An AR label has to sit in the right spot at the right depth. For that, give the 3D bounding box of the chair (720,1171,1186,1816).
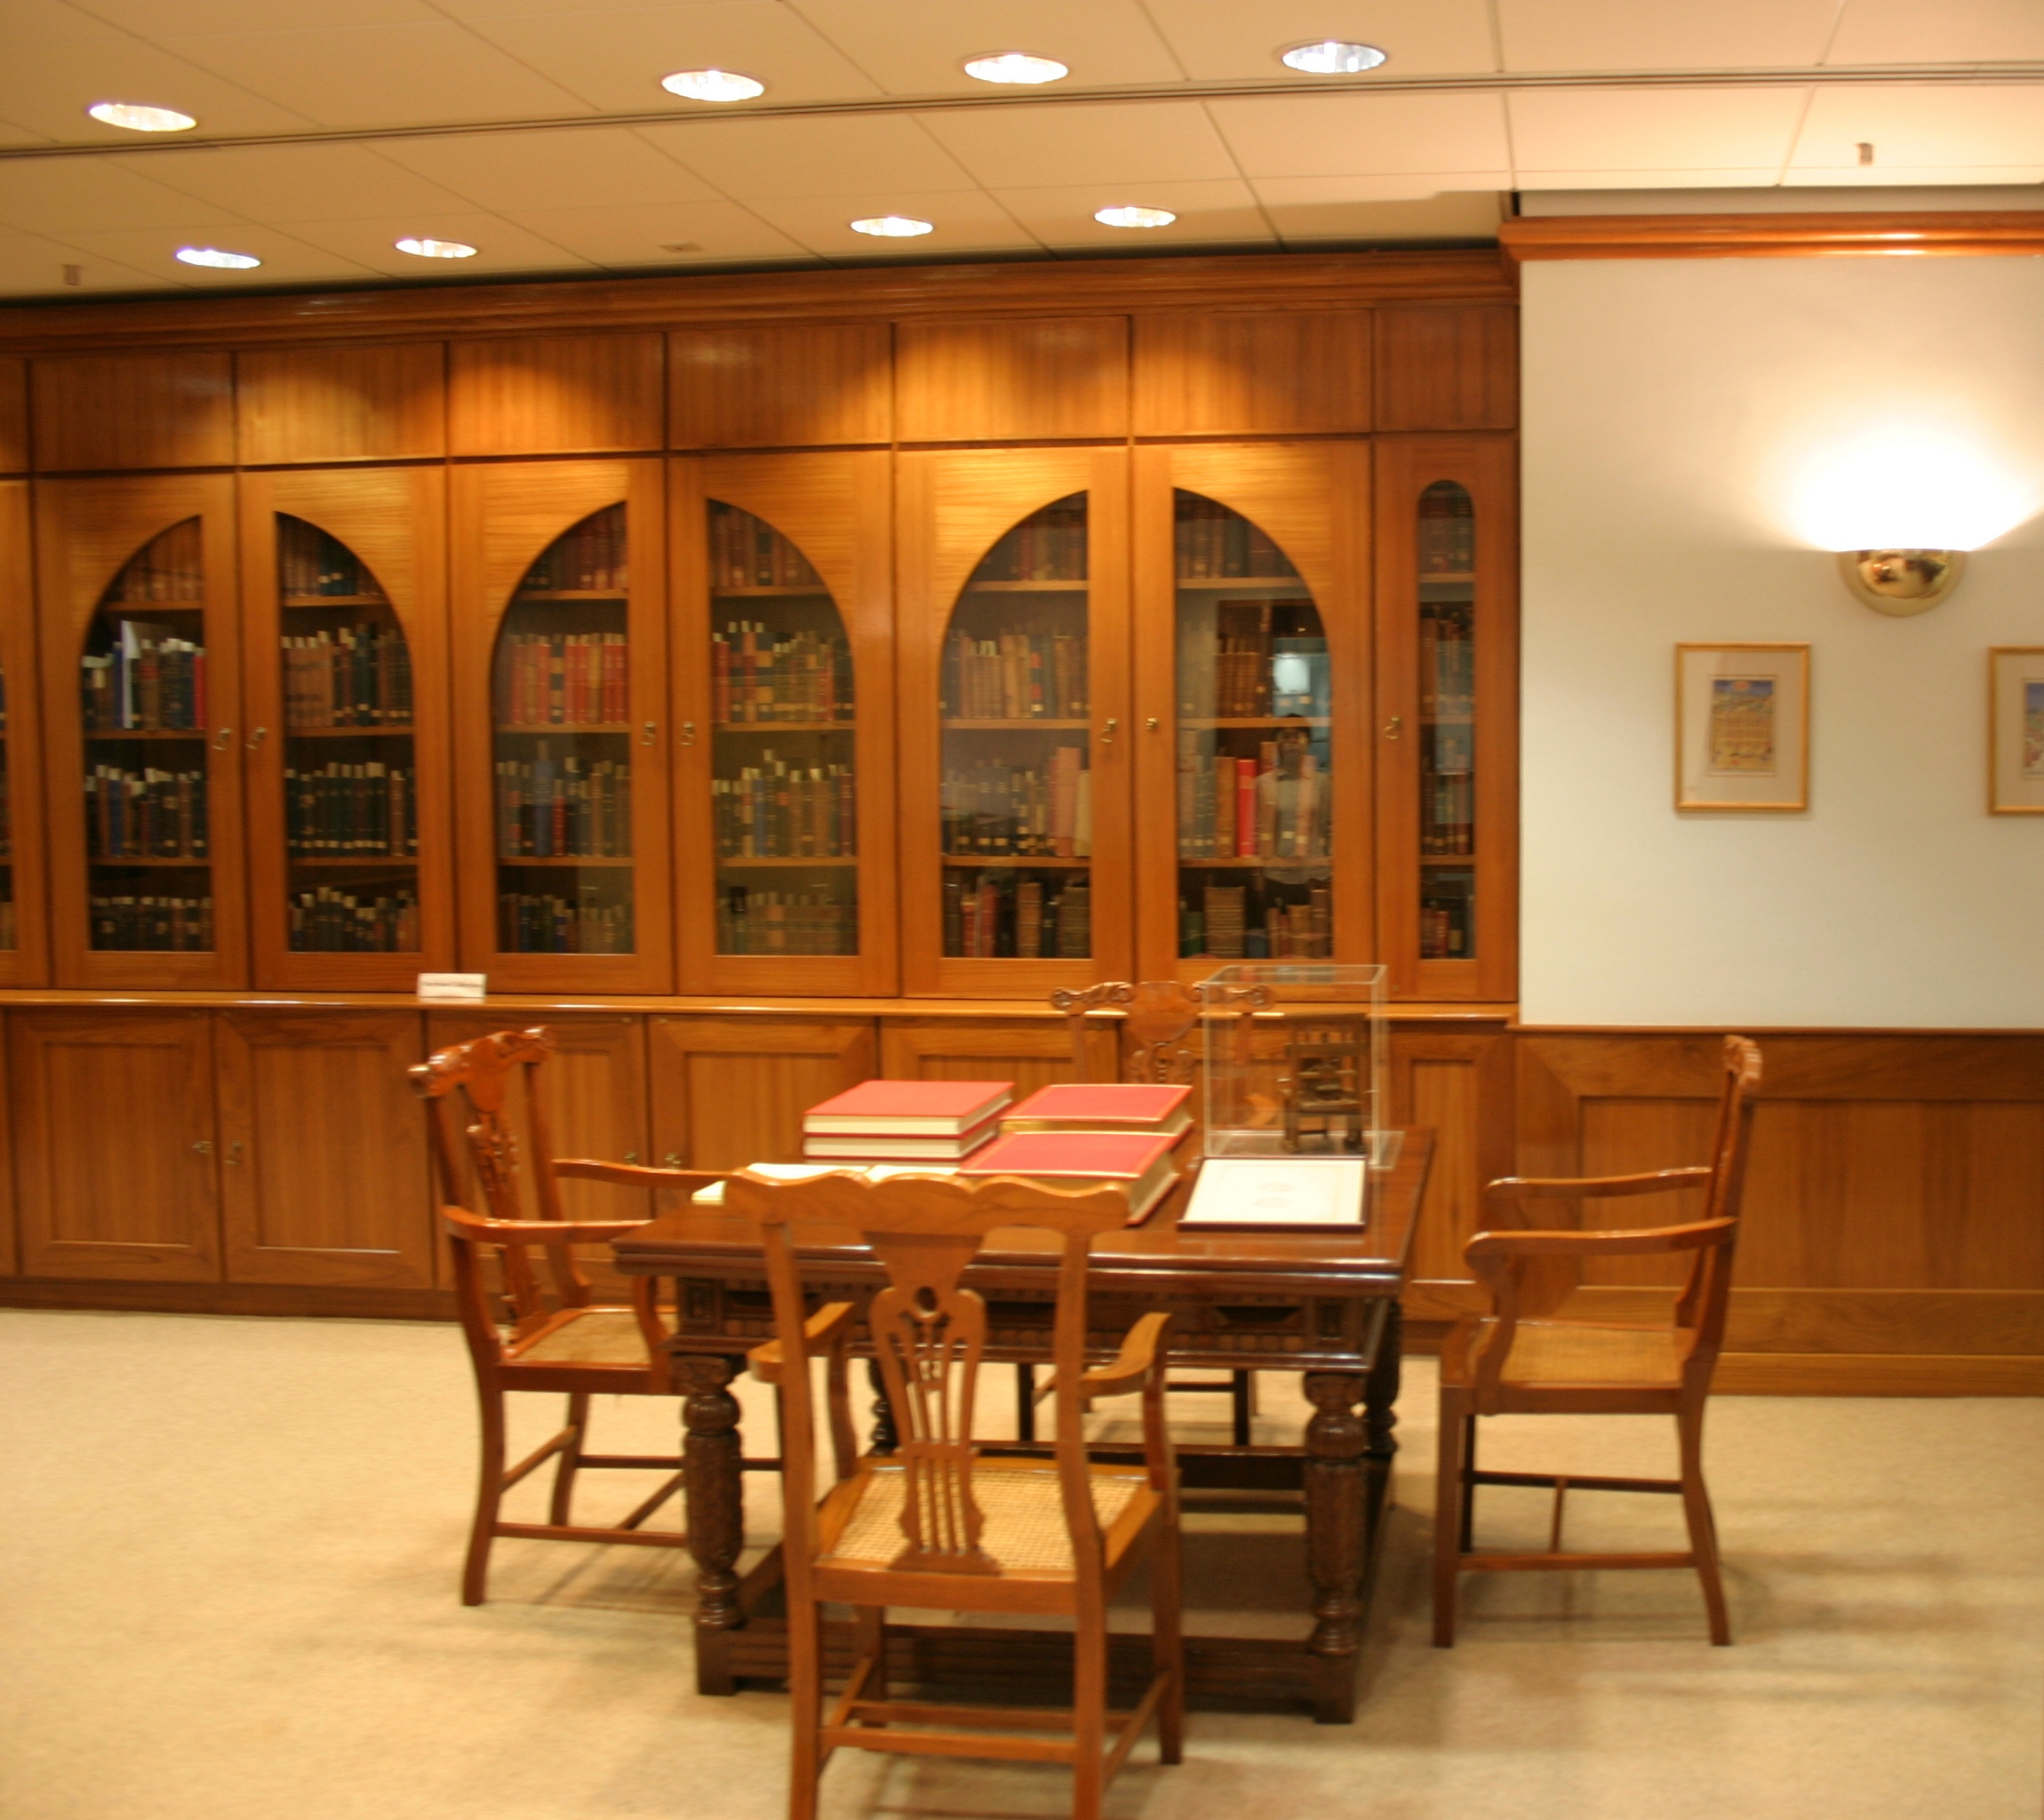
[{"bbox_3d":[-0.077,0.879,3.032,0.640,1.099,0.954,-3,3,1],"label":"chair"}]

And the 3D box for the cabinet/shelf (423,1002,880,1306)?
[{"bbox_3d":[-1.213,0.639,5.645,1.419,0.666,0.377,5,-13,-43],"label":"cabinet/shelf"}]

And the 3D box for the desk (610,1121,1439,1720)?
[{"bbox_3d":[-0.192,1.067,3.549,1.637,0.646,1.659,-14,-23,33],"label":"desk"}]

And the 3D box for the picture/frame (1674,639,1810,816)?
[{"bbox_3d":[1.865,-0.473,4.969,0.022,0.423,0.405,-9,11,-32],"label":"picture/frame"}]

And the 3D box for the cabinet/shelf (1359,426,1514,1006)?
[{"bbox_3d":[1.186,-0.504,5.337,0.219,1.567,0.521,-13,15,-38],"label":"cabinet/shelf"}]

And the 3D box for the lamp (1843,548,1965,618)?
[{"bbox_3d":[2.249,-0.835,4.898,0.286,0.161,0.051,-2,4,0],"label":"lamp"}]

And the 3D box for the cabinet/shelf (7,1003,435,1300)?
[{"bbox_3d":[-2.388,0.728,5.817,1.210,0.587,0.378,0,-2,6],"label":"cabinet/shelf"}]
